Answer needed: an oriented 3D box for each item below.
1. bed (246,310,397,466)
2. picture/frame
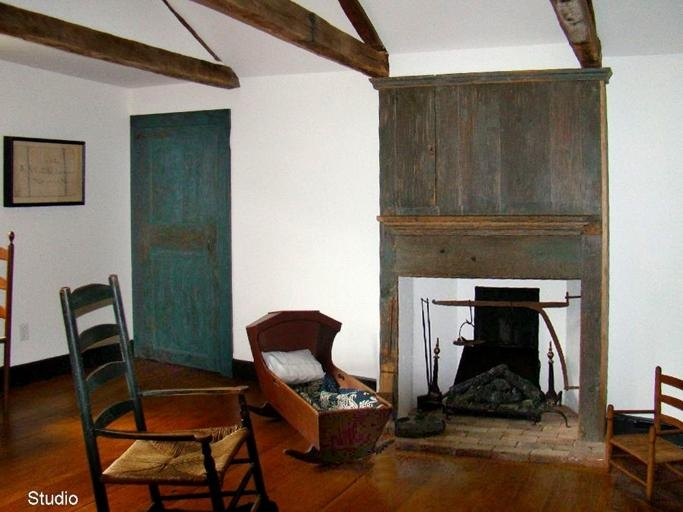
[{"bbox_3d":[-0.194,0.947,3.987,0.883,0.795,1.123,0,5,-29],"label":"bed"},{"bbox_3d":[-2.806,-0.800,5.130,0.077,0.582,0.686,7,8,38],"label":"picture/frame"}]
